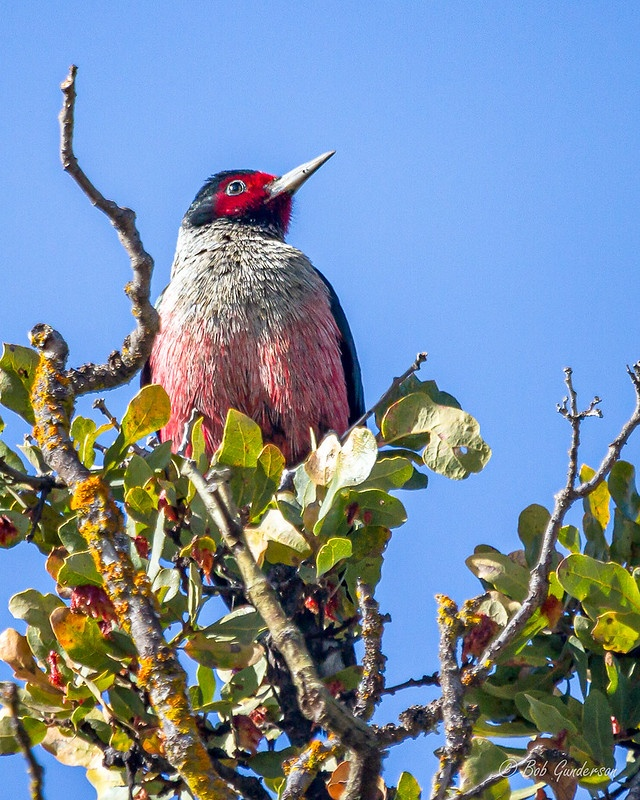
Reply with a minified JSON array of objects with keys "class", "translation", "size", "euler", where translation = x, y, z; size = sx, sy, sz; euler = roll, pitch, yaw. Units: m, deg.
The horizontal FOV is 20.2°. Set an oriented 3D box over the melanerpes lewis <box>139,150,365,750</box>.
[{"class":"melanerpes lewis","translation":[-0.381,0.286,7.741],"size":[0.883,2.445,2.410],"euler":[4,-49,-5]}]
